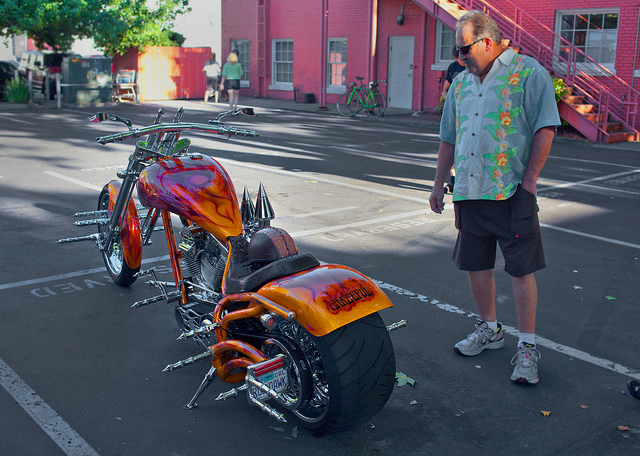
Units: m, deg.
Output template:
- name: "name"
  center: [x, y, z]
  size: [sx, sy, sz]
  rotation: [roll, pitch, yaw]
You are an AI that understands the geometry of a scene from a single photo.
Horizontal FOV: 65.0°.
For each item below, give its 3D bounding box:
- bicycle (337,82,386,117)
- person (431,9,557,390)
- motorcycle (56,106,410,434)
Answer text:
- name: "bicycle"
  center: [1.810, -5.645, 22.142]
  size: [2.677, 1.501, 1.012]
  rotation: [-8, 19, -30]
- name: "person"
  center: [1.270, -0.228, 3.779]
  size: [0.903, 2.676, 0.632]
  rotation: [6, 16, 24]
- name: "motorcycle"
  center: [-0.898, 0.083, 3.903]
  size: [1.277, 1.739, 3.459]
  rotation: [-16, 30, -41]
